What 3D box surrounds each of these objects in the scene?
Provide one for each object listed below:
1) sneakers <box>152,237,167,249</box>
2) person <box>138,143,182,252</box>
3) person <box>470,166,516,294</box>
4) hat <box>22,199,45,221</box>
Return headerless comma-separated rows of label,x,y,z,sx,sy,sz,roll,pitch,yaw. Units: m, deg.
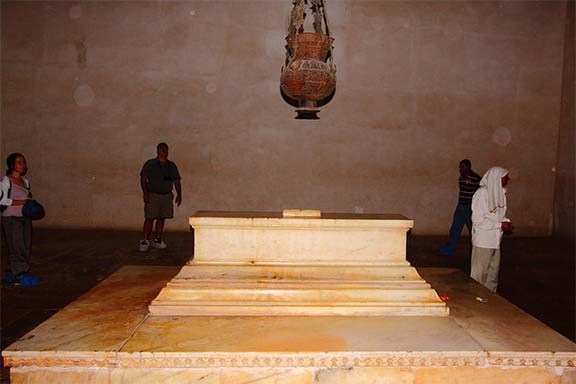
sneakers,-2.220,0.885,8.281,0.266,0.155,0.134,1,6,-5
person,-2.180,0.082,8.111,0.417,1.778,0.713,6,10,34
person,2.517,0.525,6.041,0.620,1.656,0.442,-7,11,-43
hat,-3.364,0.213,6.377,0.257,0.098,0.297,15,22,-10
